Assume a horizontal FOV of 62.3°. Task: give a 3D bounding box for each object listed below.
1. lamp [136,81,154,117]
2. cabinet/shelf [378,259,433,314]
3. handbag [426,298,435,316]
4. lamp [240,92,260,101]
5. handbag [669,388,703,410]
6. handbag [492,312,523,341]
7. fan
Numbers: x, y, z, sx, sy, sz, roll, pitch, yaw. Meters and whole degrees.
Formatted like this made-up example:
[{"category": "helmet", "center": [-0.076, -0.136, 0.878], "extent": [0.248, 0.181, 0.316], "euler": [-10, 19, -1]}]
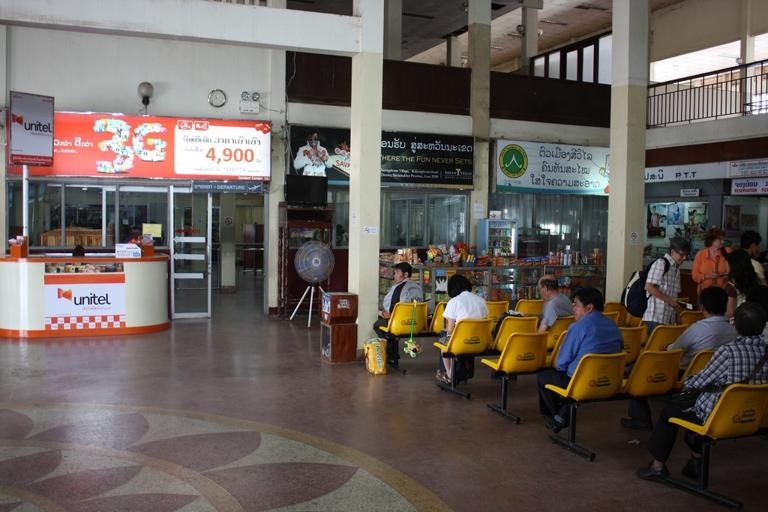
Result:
[{"category": "lamp", "center": [-4.883, -3.275, 13.092], "extent": [0.324, 0.695, 0.294], "euler": [-4, 11, -22]}, {"category": "cabinet/shelf", "center": [0.366, 0.541, 10.138], "extent": [0.696, 1.156, 1.145], "euler": [4, -3, -24]}, {"category": "handbag", "center": [0.854, 0.938, 11.873], "extent": [0.189, 0.235, 0.210], "euler": [-2, 7, -15]}, {"category": "lamp", "center": [-2.853, -3.440, 13.632], "extent": [0.381, 0.185, 0.138], "euler": [-2, 11, -13]}, {"category": "handbag", "center": [3.014, 1.403, 6.369], "extent": [0.237, 0.099, 0.189], "euler": [-18, 3, -12]}, {"category": "handbag", "center": [1.697, 0.958, 8.853], "extent": [0.318, 0.343, 0.378], "euler": [0, 7, -10]}, {"category": "fan", "center": [-1.349, 0.497, 12.392], "extent": [0.780, 1.475, 0.738], "euler": [1, 9, 8]}]
